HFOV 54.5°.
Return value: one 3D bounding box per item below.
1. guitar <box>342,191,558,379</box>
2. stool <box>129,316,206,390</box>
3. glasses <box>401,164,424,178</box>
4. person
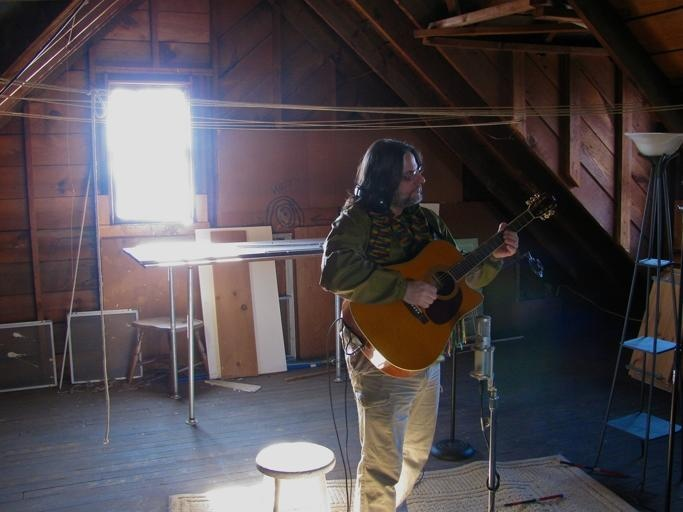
[{"bbox_3d":[0.653,0.098,3.946,1.540,0.660,0.237,-43,-1,-27],"label":"guitar"},{"bbox_3d":[-1.591,0.781,6.055,0.656,0.665,0.749,1,-1,22],"label":"stool"},{"bbox_3d":[0.384,-0.463,3.626,0.089,0.029,0.090,-27,-2,-35],"label":"glasses"},{"bbox_3d":[0.318,0.542,3.766,0.595,2.336,0.892,9,16,36],"label":"person"}]
